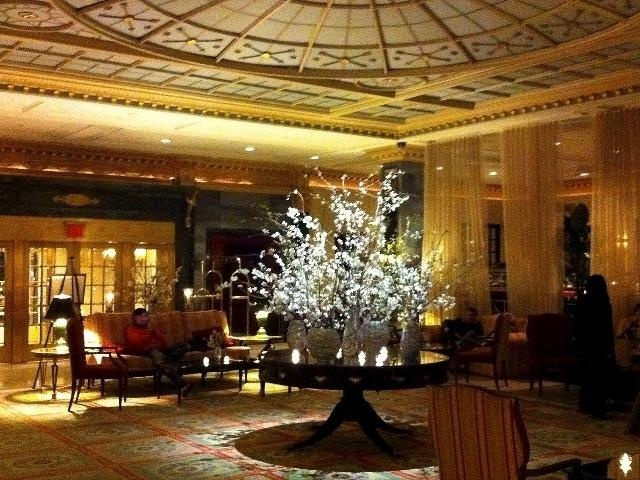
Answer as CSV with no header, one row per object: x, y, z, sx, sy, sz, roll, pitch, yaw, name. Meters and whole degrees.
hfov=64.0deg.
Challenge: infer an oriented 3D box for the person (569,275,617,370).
3.842,1.137,7.188,0.495,1.308,0.356,-2,-8,20,person
